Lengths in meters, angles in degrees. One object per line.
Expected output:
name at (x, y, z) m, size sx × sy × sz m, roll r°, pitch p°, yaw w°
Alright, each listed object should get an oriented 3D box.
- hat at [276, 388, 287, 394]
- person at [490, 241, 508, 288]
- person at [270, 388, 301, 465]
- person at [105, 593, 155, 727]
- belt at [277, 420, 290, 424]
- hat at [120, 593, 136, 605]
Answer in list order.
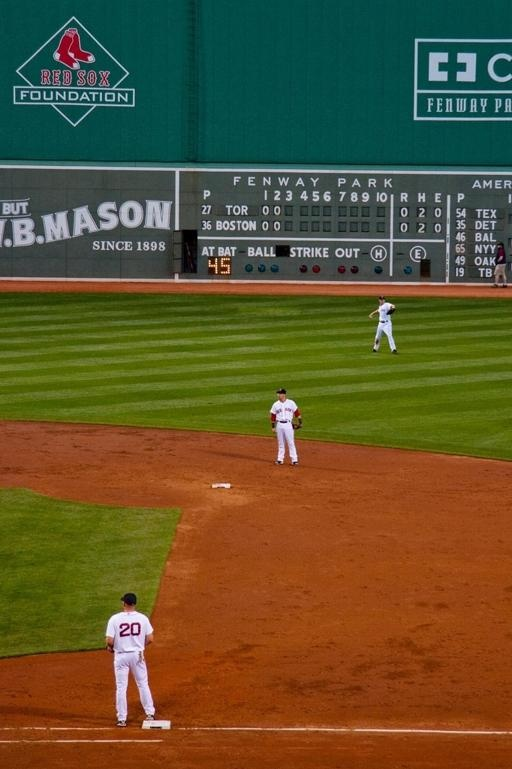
hat at (0.371, 0.118, 23.875) m, size 0.100 × 0.062 × 0.154 m, roll 2°, pitch 2°, yaw -12°
person at (7.863, -3.884, 50.358) m, size 0.408 × 1.471 × 1.321 m, roll 2°, pitch 10°, yaw 9°
person at (0.446, 0.641, 24.249) m, size 0.461 × 1.299 × 0.269 m, roll 0°, pitch 25°, yaw 6°
person at (-1.225, 2.631, 15.163) m, size 0.453 × 1.241 × 1.134 m, roll -1°, pitch 10°, yaw -5°
belt at (0.405, 0.584, 24.116) m, size 0.186 × 0.067 × 0.062 m, roll 1°, pitch 10°, yaw 2°
hat at (-1.240, 2.078, 15.099) m, size 0.117 × 0.130 × 0.189 m, roll -3°, pitch 10°, yaw -16°
